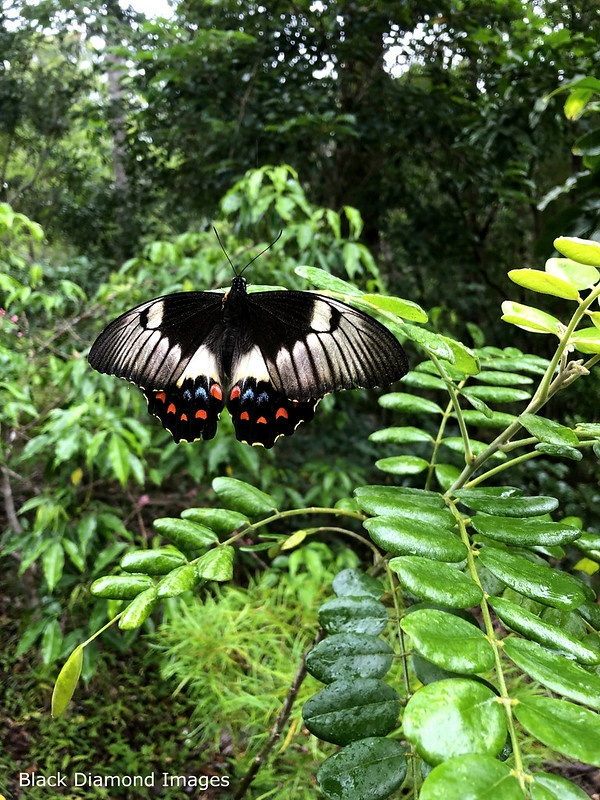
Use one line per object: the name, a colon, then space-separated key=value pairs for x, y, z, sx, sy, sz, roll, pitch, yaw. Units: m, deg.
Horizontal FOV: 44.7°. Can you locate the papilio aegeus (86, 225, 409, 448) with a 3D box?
papilio aegeus: x=-0.100 y=-0.082 z=1.429 sx=0.626 sy=0.376 sz=0.299 roll=3 pitch=24 yaw=9
